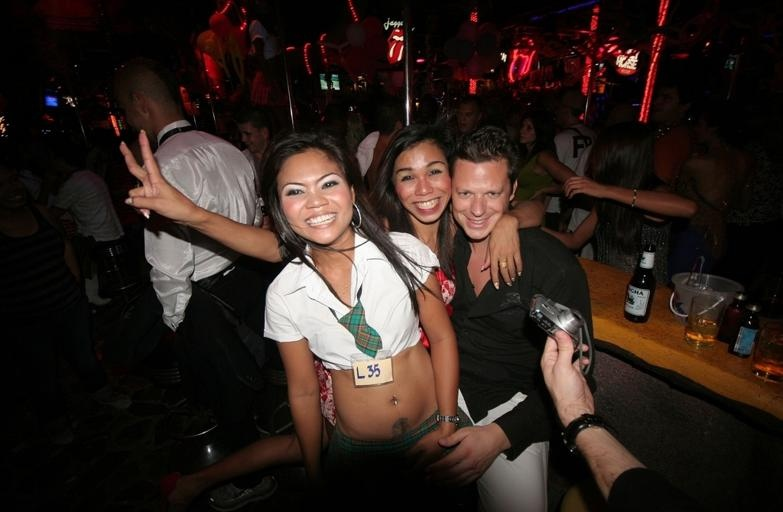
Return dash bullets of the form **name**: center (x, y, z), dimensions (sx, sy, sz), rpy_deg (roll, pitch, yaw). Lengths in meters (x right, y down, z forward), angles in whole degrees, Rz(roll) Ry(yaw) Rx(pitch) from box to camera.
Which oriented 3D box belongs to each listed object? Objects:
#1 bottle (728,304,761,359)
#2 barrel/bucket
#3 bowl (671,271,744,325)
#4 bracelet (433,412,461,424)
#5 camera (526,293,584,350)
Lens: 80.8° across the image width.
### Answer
- **bottle**: center (2.920, 0.592, 3.767), dimensions (0.260, 0.447, 0.145), rpy_deg (-20, 27, -36)
- **barrel/bucket**: center (2.763, 0.314, 4.028), dimensions (0.495, 0.331, 0.455), rpy_deg (-4, 22, 2)
- **bowl**: center (2.756, 0.360, 4.042), dimensions (0.482, 0.320, 0.445), rpy_deg (-5, 21, 2)
- **bracelet**: center (0.481, 1.398, 3.960), dimensions (0.182, 0.115, 0.205), rpy_deg (-10, -13, 44)
- **camera**: center (1.196, 0.479, 3.366), dimensions (0.217, 0.485, 0.305), rpy_deg (-44, 3, 31)
